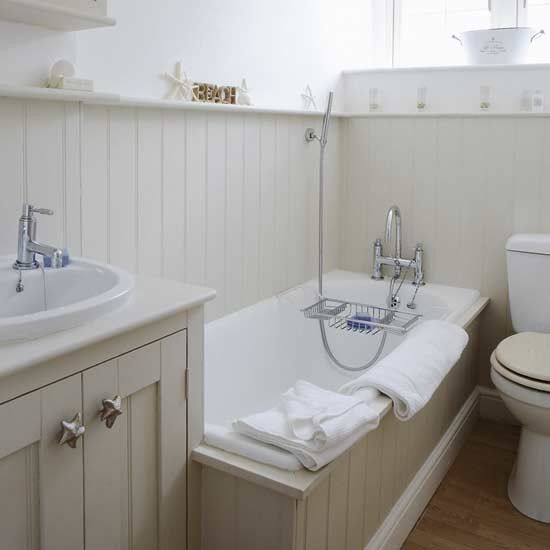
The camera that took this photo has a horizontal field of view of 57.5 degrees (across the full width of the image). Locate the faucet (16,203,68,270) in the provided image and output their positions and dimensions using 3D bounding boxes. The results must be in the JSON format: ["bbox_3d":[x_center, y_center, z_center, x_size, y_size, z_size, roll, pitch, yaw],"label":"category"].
[{"bbox_3d":[-0.482,-0.063,1.015,0.056,0.144,0.223,-11,17,-38],"label":"faucet"}]

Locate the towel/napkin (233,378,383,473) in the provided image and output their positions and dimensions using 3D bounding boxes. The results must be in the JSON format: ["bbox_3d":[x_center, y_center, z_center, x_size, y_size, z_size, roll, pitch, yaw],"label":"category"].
[{"bbox_3d":[0.069,0.332,1.161,0.187,0.077,0.195,5,15,41],"label":"towel/napkin"}]

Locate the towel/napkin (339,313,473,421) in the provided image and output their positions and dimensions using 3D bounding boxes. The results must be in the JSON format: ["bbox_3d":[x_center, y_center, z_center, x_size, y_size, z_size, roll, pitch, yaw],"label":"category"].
[{"bbox_3d":[0.449,0.280,1.571,0.217,0.139,0.468,16,21,29],"label":"towel/napkin"}]

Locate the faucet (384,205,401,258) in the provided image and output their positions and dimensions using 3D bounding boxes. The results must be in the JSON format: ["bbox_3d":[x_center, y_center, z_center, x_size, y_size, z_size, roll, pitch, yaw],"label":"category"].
[{"bbox_3d":[0.590,-0.207,2.510,0.094,0.279,0.248,2,13,13],"label":"faucet"}]
